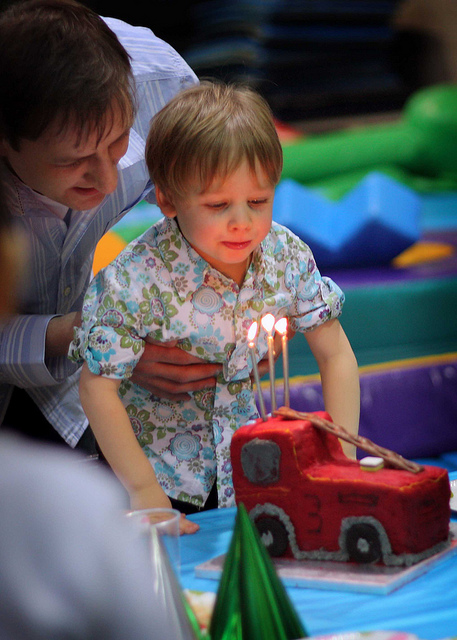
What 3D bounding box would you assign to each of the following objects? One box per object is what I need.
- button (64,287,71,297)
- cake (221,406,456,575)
[{"bbox_3d":[-0.336,-0.059,1.326,0.004,0.015,0.015,29,78,27],"label":"button"},{"bbox_3d":[0.128,0.204,0.796,0.270,0.158,0.163,1,15,23],"label":"cake"}]
